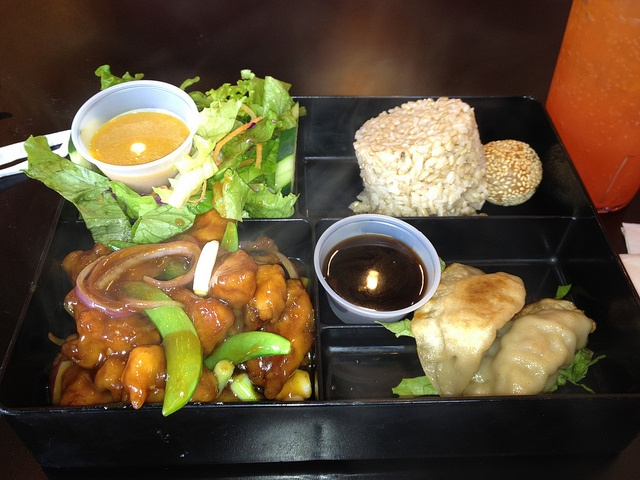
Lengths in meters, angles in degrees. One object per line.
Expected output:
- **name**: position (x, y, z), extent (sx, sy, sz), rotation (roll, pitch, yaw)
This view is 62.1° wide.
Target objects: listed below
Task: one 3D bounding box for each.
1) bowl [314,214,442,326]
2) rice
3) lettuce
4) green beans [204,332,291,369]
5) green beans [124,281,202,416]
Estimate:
- **bowl**: position (0.233, 0.137, 2.222), extent (0.503, 0.245, 0.448), rotation (14, 57, 11)
- **rice**: position (0.536, -0.455, 2.741), extent (0.776, 0.532, 0.784), rotation (-9, 30, -12)
- **lettuce**: position (-0.585, -0.265, 2.189), extent (1.012, 0.335, 0.811), rotation (0, 63, -10)
- **green beans**: position (-0.265, 0.385, 1.967), extent (0.378, 0.064, 0.129), rotation (-8, 83, 11)
- **green beans**: position (-0.536, 0.339, 1.873), extent (0.183, 0.054, 0.526), rotation (-22, 58, -13)
